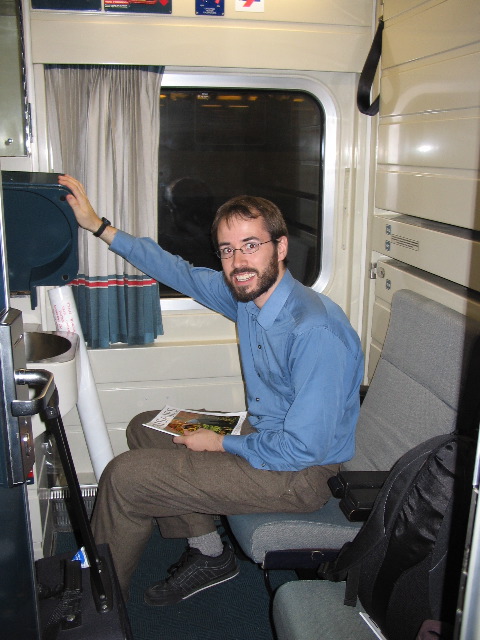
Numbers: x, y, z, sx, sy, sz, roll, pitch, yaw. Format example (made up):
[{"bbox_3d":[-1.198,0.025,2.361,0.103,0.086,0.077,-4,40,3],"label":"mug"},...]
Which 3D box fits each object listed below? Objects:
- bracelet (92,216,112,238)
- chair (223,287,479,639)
[{"bbox_3d":[-0.618,-0.408,2.160,0.038,0.089,0.063,37,8,-34],"label":"bracelet"},{"bbox_3d":[0.253,0.329,1.838,1.002,1.146,0.714,-5,23,-8],"label":"chair"}]
